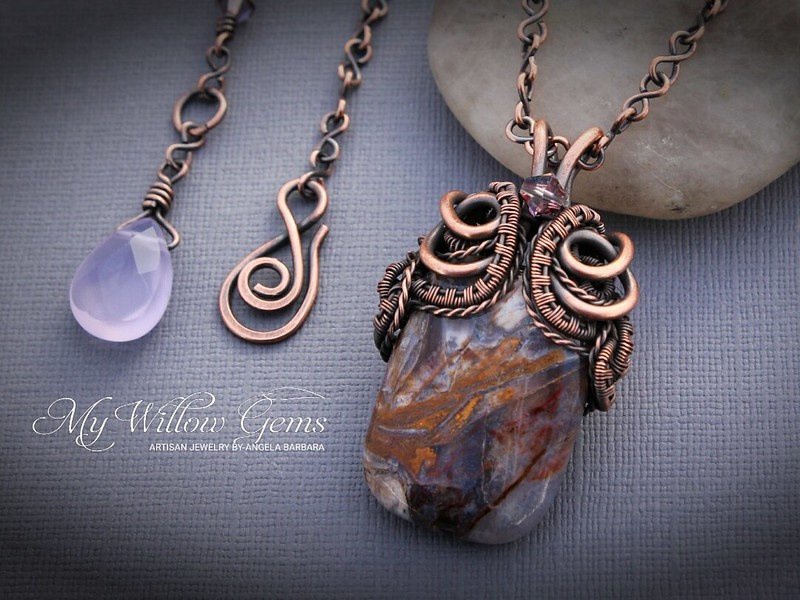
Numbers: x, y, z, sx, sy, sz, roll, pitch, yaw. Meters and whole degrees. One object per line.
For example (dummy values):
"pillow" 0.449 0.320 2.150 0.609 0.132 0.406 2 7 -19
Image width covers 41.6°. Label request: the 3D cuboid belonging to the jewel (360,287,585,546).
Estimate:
"jewel" 0.106 0.145 1.396 0.264 0.236 0.247 21 49 0
